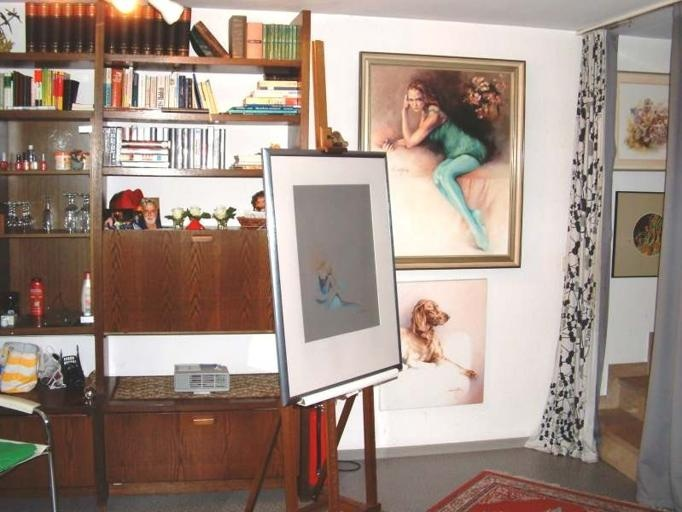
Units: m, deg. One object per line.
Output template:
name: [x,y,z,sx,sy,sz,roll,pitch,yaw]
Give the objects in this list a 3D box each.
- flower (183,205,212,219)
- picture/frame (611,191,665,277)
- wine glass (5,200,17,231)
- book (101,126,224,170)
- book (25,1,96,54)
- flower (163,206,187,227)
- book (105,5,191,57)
flower: [-0.990,-0.286,4.467,0.106,0.057,0.108,-7,3,18]
picture/frame: [2.289,-0.206,5.109,0.597,0.864,0.029,-1,6,-7]
wine glass: [-2.223,-0.280,4.438,0.074,0.200,0.191,-2,6,-27]
book: [-1.187,-0.736,4.420,0.779,0.274,0.168,0,5,3]
book: [-1.841,-1.510,4.311,0.444,0.322,0.019,0,5,-2]
flower: [-1.121,-0.265,4.476,0.135,0.128,0.138,1,1,31]
book: [-1.283,-1.506,4.354,0.546,0.324,0.050,-1,5,-9]
